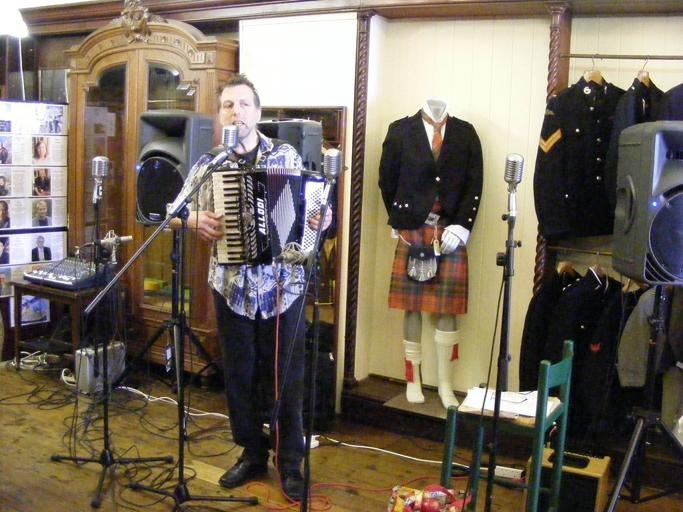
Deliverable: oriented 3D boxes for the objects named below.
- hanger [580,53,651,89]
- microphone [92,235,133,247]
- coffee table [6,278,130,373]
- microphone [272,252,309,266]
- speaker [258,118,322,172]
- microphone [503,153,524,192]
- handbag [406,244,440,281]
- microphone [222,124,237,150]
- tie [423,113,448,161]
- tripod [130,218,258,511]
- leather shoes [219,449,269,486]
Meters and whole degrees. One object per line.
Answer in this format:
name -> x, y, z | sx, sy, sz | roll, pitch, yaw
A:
hanger -> 1.536, -1.071, 3.595 | 0.420, 0.185, 0.227 | 7, 11, 27
microphone -> -1.344, -0.092, 3.716 | 0.170, 0.045, 0.078 | -2, 38, -20
coffee table -> -2.052, 0.293, 4.987 | 0.933, 0.997, 0.785 | 4, 3, 33
microphone -> -0.210, -0.007, 2.684 | 0.147, 0.060, 0.072 | -4, -34, -36
speaker -> -0.291, -0.702, 3.917 | 0.268, 0.412, 0.367 | 14, 21, 38
microphone -> 0.745, -0.368, 2.731 | 0.067, 0.149, 0.259 | 3, 10, 13
handbag -> 0.511, 0.036, 3.882 | 0.191, 0.266, 0.060 | 1, 2, 18
microphone -> -0.475, -0.512, 2.708 | 0.057, 0.100, 0.148 | 0, 10, -7
tie -> 0.572, -0.745, 3.905 | 0.153, 0.276, 0.103 | 2, 9, 8
tripod -> -0.869, 0.457, 3.441 | 0.602, 1.456, 1.362 | -2, 10, -20
leather shoes -> -0.505, 1.126, 3.431 | 0.299, 0.222, 0.121 | 2, -1, -43
